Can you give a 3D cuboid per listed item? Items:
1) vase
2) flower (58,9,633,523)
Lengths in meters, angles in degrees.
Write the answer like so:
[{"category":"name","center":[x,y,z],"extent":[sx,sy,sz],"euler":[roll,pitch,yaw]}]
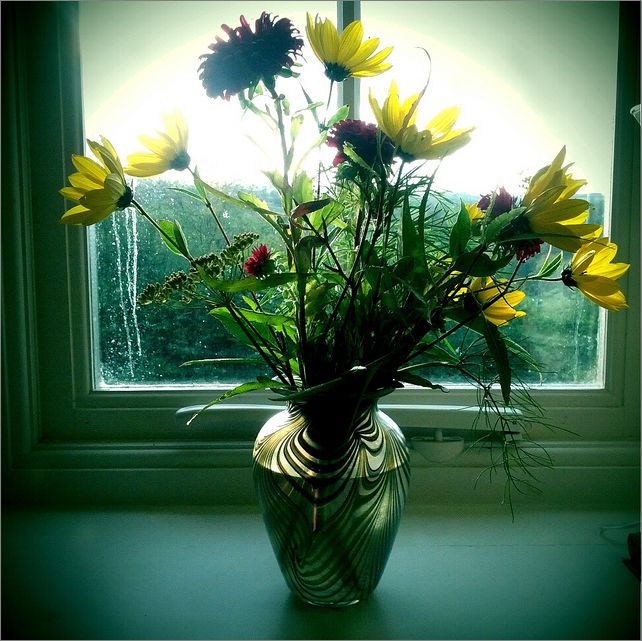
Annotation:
[{"category":"vase","center":[0.013,0.191,0.757],"extent":[0.191,0.226,0.180],"euler":[0,1,-27]},{"category":"flower","center":[0.061,-0.024,0.841],"extent":[0.556,0.654,0.490],"euler":[2,14,10]}]
